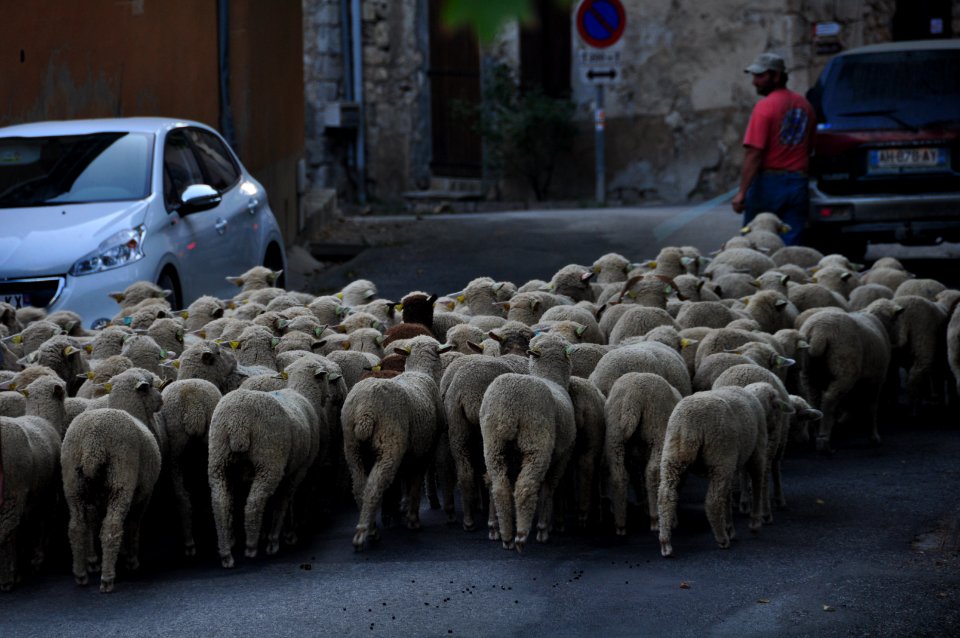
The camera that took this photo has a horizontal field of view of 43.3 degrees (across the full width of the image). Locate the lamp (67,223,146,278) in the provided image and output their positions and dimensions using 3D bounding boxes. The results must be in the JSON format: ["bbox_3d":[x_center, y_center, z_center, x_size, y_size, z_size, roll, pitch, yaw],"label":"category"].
[{"bbox_3d":[-3.830,-0.674,12.428,0.610,0.261,0.455,-13,0,-11],"label":"lamp"}]

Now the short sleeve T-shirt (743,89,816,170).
[{"bbox_3d":[3.795,-2.294,15.020,0.977,1.035,0.318,-5,8,-22],"label":"short sleeve T-shirt"}]

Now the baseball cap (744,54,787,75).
[{"bbox_3d":[3.642,-3.163,15.048,0.551,0.247,0.361,2,4,-1],"label":"baseball cap"}]
